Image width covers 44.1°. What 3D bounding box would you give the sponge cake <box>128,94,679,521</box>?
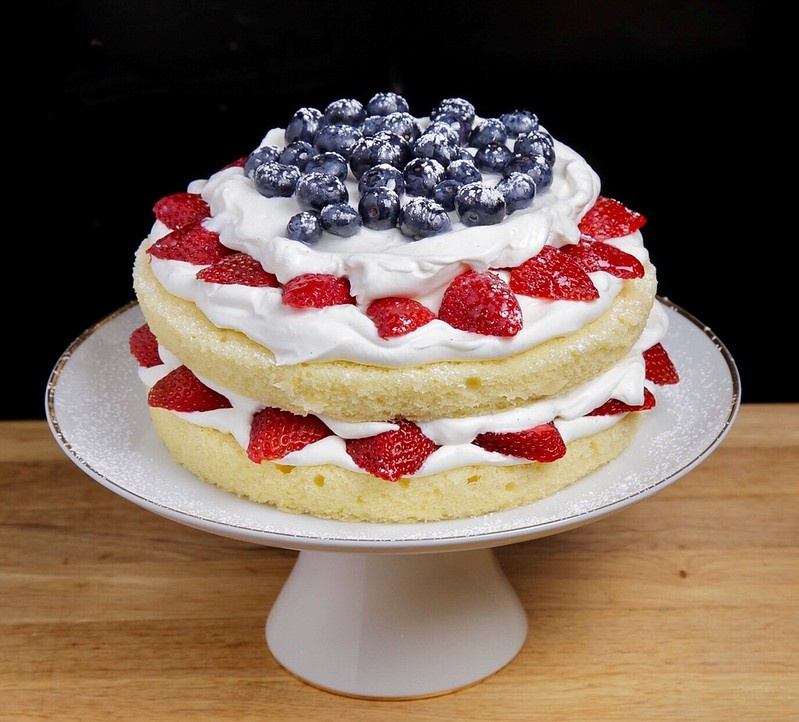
[{"bbox_3d":[0.037,-0.108,2.332,1.552,0.532,1.004,-1,25,0],"label":"sponge cake"}]
